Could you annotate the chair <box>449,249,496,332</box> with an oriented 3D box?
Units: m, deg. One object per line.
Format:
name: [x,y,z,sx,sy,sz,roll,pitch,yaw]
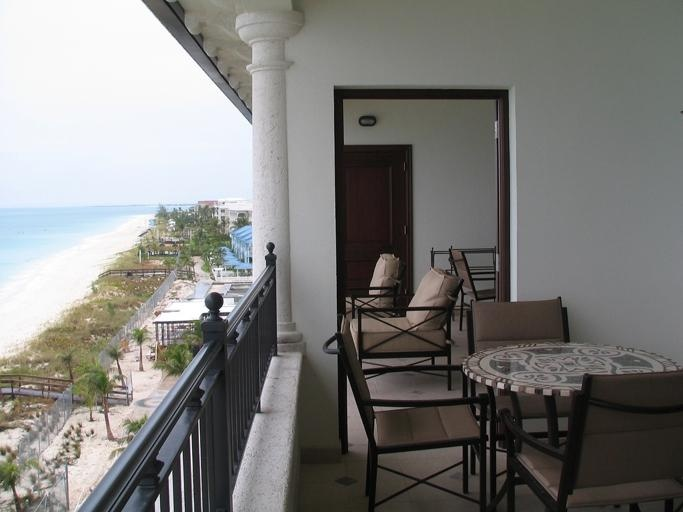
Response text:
chair: [1.755,0.374,6.793,0.782,0.981,0.756,-2,13,5]

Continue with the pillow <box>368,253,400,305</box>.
pillow: [0.482,0.318,6.488,0.328,0.587,0.758,3,-3,-14]

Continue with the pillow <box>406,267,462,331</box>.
pillow: [0.857,0.425,5.048,0.427,0.588,0.812,4,4,1]

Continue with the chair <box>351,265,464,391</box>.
chair: [0.633,0.586,4.733,1.088,1.248,0.971,1,-1,1]

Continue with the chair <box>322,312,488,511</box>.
chair: [0.497,1.002,3.597,1.191,1.488,0.922,-3,3,-2]

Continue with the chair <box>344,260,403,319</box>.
chair: [0.340,0.496,6.363,0.755,0.977,0.658,-1,3,-7]

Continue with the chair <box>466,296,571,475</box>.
chair: [1.210,0.814,3.788,0.861,1.397,0.932,-1,-2,2]
